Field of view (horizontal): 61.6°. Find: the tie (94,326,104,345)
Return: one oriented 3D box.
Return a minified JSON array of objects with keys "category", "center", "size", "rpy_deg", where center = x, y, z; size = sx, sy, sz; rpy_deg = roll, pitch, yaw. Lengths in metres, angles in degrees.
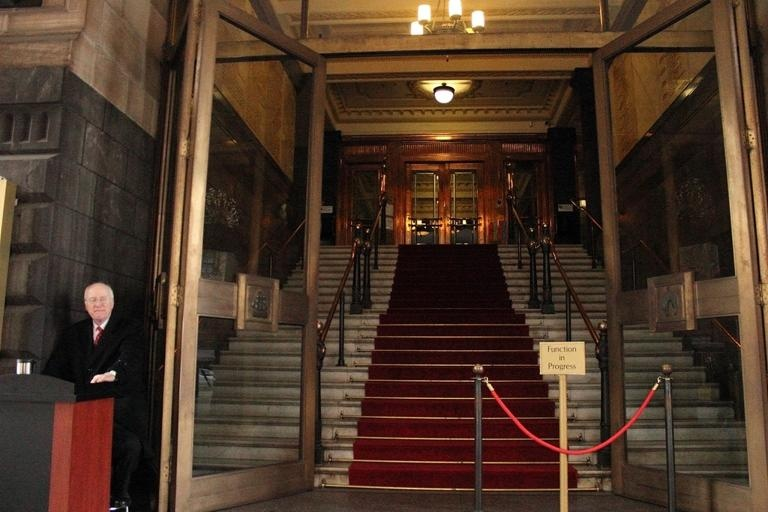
[{"category":"tie","center":[-2.178,0.603,4.921],"size":[0.080,0.110,0.030],"rpy_deg":[1,-13,34]}]
